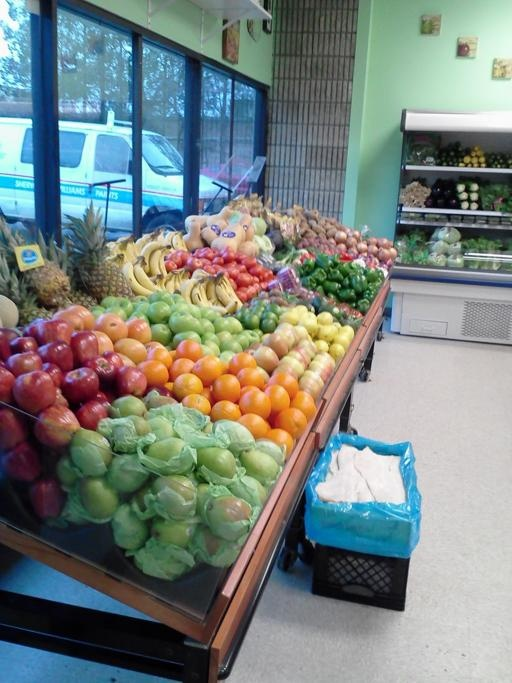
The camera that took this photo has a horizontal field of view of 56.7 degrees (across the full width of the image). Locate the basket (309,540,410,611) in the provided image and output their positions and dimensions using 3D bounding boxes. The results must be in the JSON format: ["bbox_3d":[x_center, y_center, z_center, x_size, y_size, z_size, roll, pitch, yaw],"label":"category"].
[{"bbox_3d":[0.431,0.811,1.968,0.444,0.220,0.390,3,13,16],"label":"basket"}]

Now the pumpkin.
[{"bbox_3d":[-0.210,-0.646,2.783,0.447,0.316,0.293,2,20,10],"label":"pumpkin"}]

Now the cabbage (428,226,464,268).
[{"bbox_3d":[2.224,-1.098,5.592,0.412,0.575,0.238,1,-28,7],"label":"cabbage"}]

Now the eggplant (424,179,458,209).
[{"bbox_3d":[2.229,-1.754,5.647,0.226,0.155,0.449,-1,27,12],"label":"eggplant"}]

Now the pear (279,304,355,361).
[{"bbox_3d":[0.262,-0.048,1.893,0.270,0.219,0.328,5,18,14],"label":"pear"}]

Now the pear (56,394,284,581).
[{"bbox_3d":[-0.121,0.204,0.673,0.245,0.185,0.171,6,14,7],"label":"pear"}]

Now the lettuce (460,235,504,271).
[{"bbox_3d":[2.631,-1.029,5.521,0.383,0.184,0.549,4,41,13],"label":"lettuce"}]
